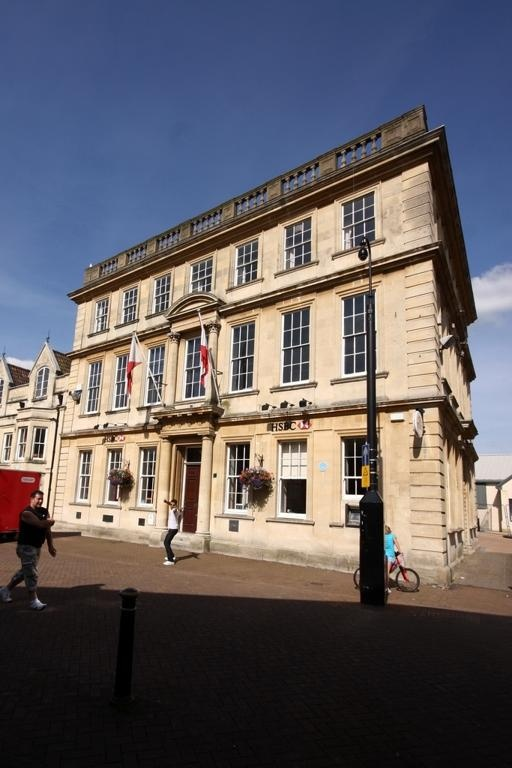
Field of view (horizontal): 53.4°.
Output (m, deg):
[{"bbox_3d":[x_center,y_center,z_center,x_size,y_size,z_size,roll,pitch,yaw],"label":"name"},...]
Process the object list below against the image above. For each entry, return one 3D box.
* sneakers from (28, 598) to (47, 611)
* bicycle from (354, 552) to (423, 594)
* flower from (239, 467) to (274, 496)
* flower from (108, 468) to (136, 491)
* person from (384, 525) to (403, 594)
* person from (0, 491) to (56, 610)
[{"bbox_3d":[-3.063,3.104,7.207,0.225,0.133,0.300,8,-13,-21],"label":"sneakers"},{"bbox_3d":[2.975,4.131,11.044,0.718,0.947,1.482,17,-31,-35],"label":"bicycle"},{"bbox_3d":[0.087,2.812,14.770,0.775,0.603,0.822,-1,-19,9],"label":"flower"},{"bbox_3d":[-5.052,3.602,19.294,0.660,0.839,0.904,12,-15,-37],"label":"flower"},{"bbox_3d":[2.921,3.677,10.817,0.326,1.265,1.588,-1,-13,15],"label":"person"},{"bbox_3d":[-3.413,2.478,7.747,0.685,1.653,2.043,7,-13,-20],"label":"person"}]
